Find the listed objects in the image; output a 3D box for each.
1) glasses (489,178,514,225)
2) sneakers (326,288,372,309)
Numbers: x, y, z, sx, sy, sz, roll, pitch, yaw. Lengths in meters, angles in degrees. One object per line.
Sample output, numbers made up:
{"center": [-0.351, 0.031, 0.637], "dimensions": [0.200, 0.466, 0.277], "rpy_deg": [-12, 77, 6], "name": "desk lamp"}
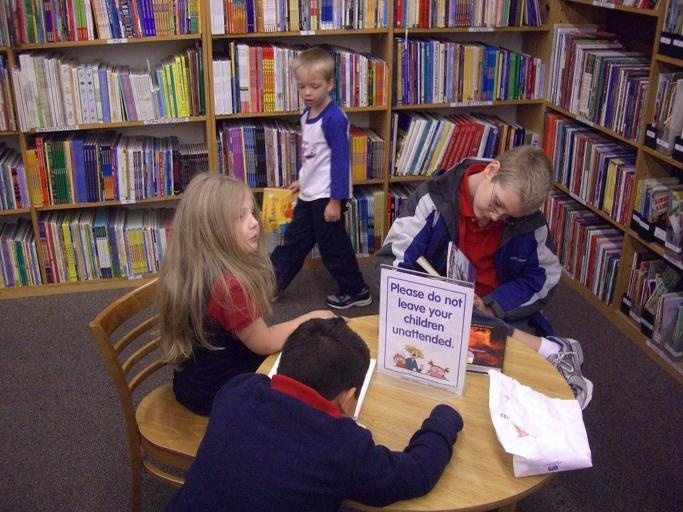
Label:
{"center": [0.625, -0.205, 2.067], "dimensions": [0.039, 0.128, 0.119], "rpy_deg": [-8, -34, 37], "name": "glasses"}
{"center": [0.045, 0.293, 3.505], "dimensions": [0.296, 0.156, 0.120], "rpy_deg": [-2, 21, -12], "name": "sneakers"}
